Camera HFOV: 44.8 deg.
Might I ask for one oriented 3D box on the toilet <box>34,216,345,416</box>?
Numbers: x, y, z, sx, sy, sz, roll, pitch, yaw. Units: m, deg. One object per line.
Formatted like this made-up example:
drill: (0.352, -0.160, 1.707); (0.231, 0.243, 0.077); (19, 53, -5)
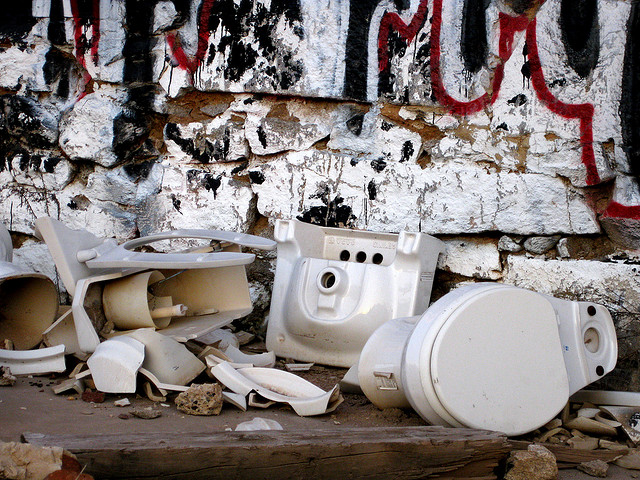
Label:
toilet: (-0.615, 0.258, 3.438); (1.027, 0.736, 1.398); (-10, 14, -43)

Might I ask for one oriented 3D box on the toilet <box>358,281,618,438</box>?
toilet: (0.660, 0.393, 3.253); (0.895, 0.581, 0.883); (-6, -1, -15)

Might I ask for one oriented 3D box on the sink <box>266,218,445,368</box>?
sink: (0.156, 0.282, 3.947); (0.785, 0.736, 0.501); (6, -1, 30)
